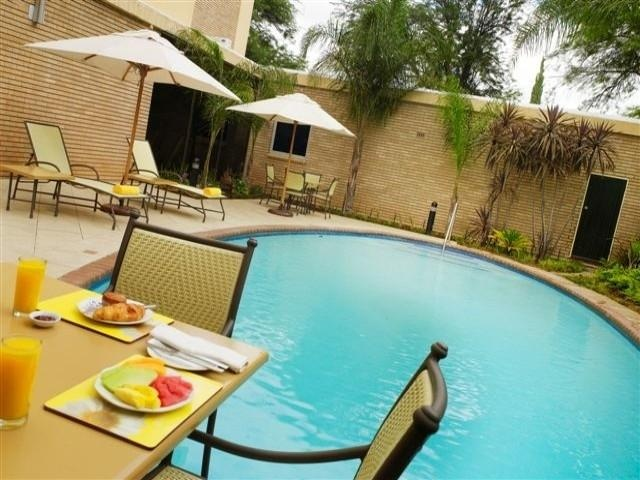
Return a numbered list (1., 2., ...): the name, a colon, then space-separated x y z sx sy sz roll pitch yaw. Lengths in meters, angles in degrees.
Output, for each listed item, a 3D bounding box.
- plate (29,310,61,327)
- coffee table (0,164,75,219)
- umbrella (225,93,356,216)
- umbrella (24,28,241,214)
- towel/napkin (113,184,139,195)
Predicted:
1. plate: -0.955 0.234 1.421 0.063 0.020 0.066 14 5 6
2. coffee table: -4.106 -0.632 5.902 1.019 0.624 0.559 16 6 41
3. umbrella: -0.993 -2.183 11.219 2.612 2.957 3.158 4 12 -22
4. umbrella: -2.937 -1.893 6.432 2.230 2.364 2.139 18 14 40
5. towel/napkin: -2.925 -0.680 6.196 0.167 0.111 0.452 17 13 33
